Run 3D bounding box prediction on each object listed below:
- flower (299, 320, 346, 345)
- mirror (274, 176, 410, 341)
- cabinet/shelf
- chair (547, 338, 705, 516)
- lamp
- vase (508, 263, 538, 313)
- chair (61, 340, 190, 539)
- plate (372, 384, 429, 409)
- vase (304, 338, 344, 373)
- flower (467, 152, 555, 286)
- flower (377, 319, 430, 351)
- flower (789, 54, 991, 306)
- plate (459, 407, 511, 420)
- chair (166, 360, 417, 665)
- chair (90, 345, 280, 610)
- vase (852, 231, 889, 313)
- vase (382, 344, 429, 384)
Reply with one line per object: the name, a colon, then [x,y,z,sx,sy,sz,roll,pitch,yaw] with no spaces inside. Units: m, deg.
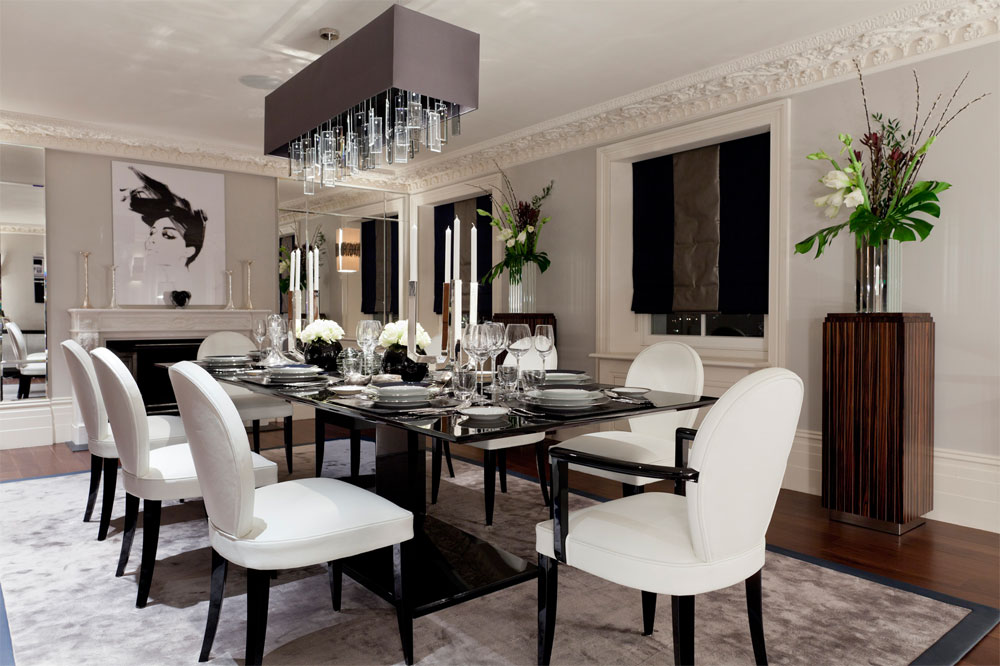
flower: [-1.255,-0.002,4.637,0.211,0.108,0.200,3,-1,-41]
mirror: [-1.817,-0.883,7.481,2.040,2.194,0.113,-2,6,-33]
cabinet/shelf: [2.636,0.590,4.688,0.455,1.382,0.570,-2,2,-30]
chair: [0.818,0.563,4.064,0.718,1.045,0.638,-3,6,-36]
lamp: [-0.819,-1.436,4.242,1.490,0.733,0.582,2,5,42]
vase: [0.219,-0.450,6.825,0.246,0.482,0.192,-1,4,1]
chair: [-2.416,0.655,4.439,0.778,1.225,0.598,0,7,-43]
plate: [-0.493,0.319,3.387,0.150,0.065,0.151,-5,0,18]
vase: [-1.209,0.149,4.587,0.227,0.180,0.225,1,0,23]
flower: [0.204,-1.026,6.820,0.633,0.862,0.657,-15,16,-31]
flower: [-0.550,0.008,3.834,0.217,0.153,0.215,6,6,-5]
flower: [2.674,-0.971,4.671,1.157,1.551,1.177,-7,12,-43]
plate: [-0.067,0.372,3.142,0.242,0.037,0.143,-1,3,-2]
chair: [-1.159,0.773,3.937,1.407,2.169,1.163,-3,6,-35]
chair: [-1.832,0.788,3.948,0.773,1.371,0.882,6,7,42]
vase: [2.546,-0.396,4.594,0.192,0.487,0.126,2,5,31]
vase: [-0.519,0.195,3.808,0.259,0.271,0.166,9,-2,14]
